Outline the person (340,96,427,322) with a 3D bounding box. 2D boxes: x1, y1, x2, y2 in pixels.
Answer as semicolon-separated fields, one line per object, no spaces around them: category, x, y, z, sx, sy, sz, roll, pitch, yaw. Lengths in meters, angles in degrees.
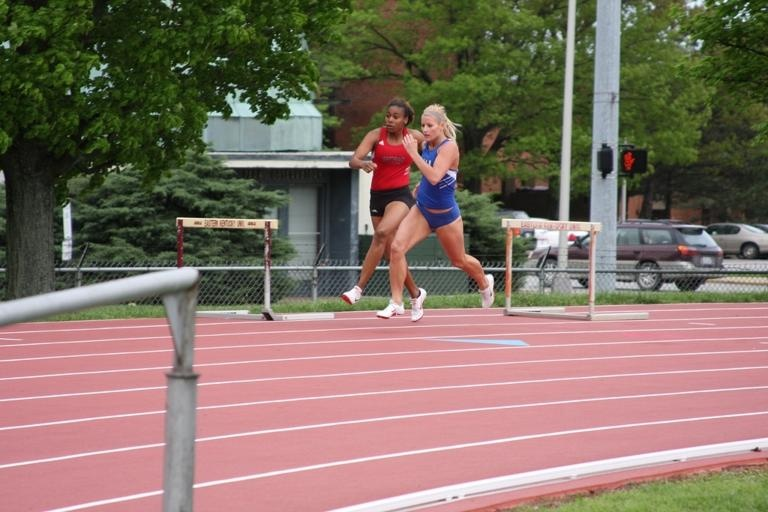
person;0.028;-0.636;12.875;1.266;2.887;1.118;0;0;10
